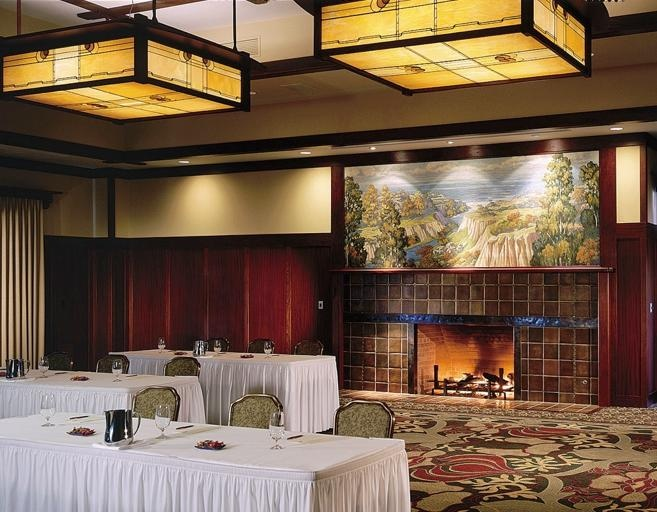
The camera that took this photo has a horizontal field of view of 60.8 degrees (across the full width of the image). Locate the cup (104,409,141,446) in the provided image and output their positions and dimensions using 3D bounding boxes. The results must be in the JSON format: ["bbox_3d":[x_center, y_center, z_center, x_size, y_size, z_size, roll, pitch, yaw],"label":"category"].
[{"bbox_3d":[-1.315,1.093,3.558,0.178,0.243,0.284,-13,-21,37],"label":"cup"}]
